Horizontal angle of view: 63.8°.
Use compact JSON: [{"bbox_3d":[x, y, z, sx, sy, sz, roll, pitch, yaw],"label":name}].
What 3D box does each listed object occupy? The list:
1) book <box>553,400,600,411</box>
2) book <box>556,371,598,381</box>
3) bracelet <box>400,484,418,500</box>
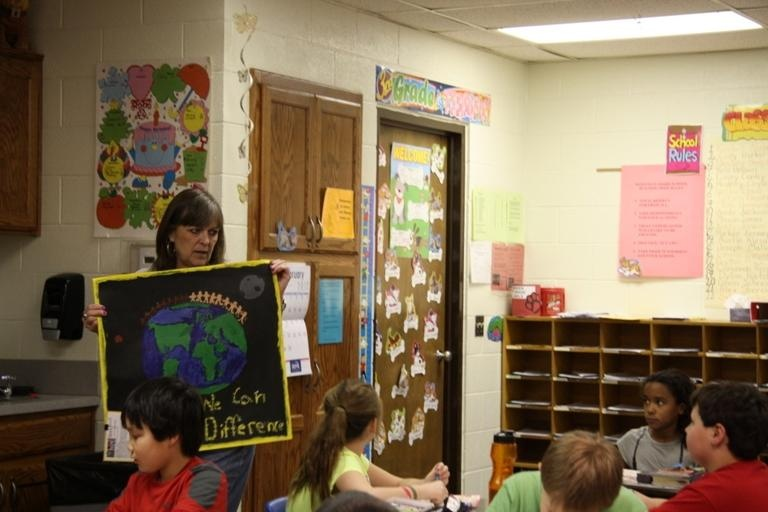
[{"bbox_3d":[1.661,1.295,5.327,0.356,0.055,0.320,2,-1,20],"label":"book"},{"bbox_3d":[1.656,1.032,5.278,0.333,0.054,0.168,2,-1,19],"label":"book"},{"bbox_3d":[0.113,1.049,2.748,0.048,0.051,0.044,-23,-11,37],"label":"bracelet"}]
